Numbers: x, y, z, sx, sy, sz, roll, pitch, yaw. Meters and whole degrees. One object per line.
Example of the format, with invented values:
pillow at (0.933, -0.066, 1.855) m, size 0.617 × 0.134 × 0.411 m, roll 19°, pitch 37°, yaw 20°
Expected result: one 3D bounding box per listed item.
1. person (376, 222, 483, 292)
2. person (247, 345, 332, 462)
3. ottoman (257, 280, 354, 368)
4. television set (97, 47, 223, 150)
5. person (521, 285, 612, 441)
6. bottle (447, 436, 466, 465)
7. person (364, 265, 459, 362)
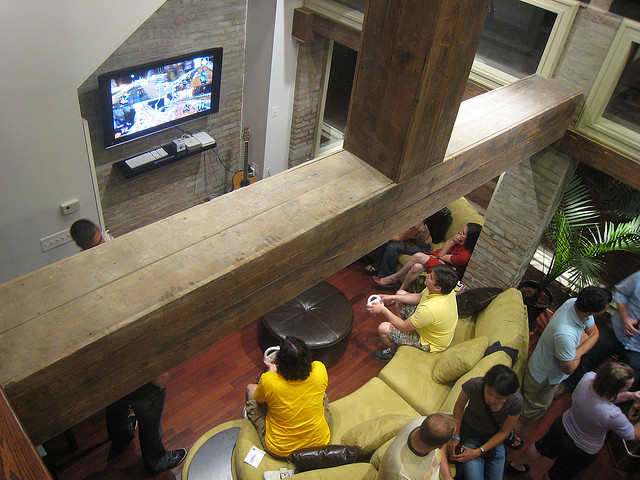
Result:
person at (1.303, 0.182, 5.268) m, size 0.967 × 1.160 × 0.471 m, roll 13°, pitch 34°, yaw -8°
person at (-0.207, 1.111, 3.164) m, size 0.612 × 0.947 × 0.512 m, roll -7°, pitch 36°, yaw -11°
ottoman at (-0.133, 0.884, 4.452) m, size 1.005 × 0.542 × 0.706 m, roll -16°, pitch 39°, yaw -22°
television set at (-0.640, -0.606, 1.835) m, size 0.040 × 0.325 × 0.568 m, roll 40°, pitch 49°, yaw 20°
person at (2.101, 1.088, 3.815) m, size 0.368 × 1.387 × 0.494 m, roll 2°, pitch 64°, yaw 8°
bottle at (1.008, 1.580, 3.404) m, size 0.068 × 0.202 × 0.141 m, roll 16°, pitch 7°, yaw 7°
person at (0.875, 0.678, 4.298) m, size 0.785 × 1.171 × 0.589 m, roll 7°, pitch 34°, yaw 10°
